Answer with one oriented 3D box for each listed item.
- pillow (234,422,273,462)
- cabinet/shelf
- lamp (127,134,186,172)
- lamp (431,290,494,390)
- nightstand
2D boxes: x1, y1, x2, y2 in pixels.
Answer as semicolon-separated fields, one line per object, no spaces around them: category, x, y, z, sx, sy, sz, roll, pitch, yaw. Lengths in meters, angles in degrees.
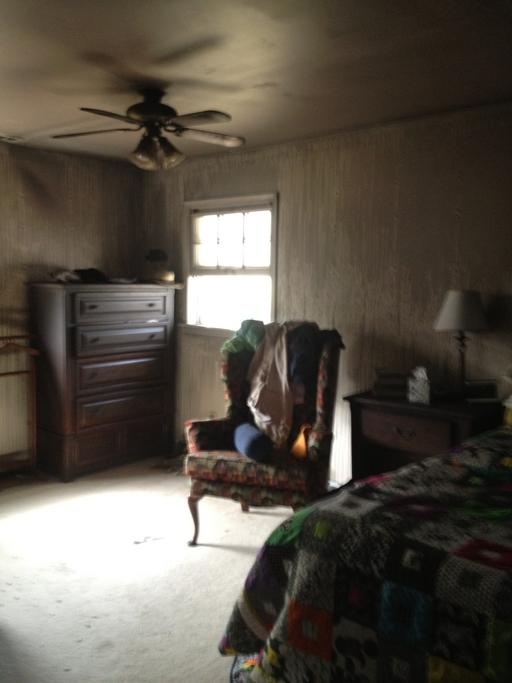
pillow;-0.018;0.494;2.742;0.136;0.153;0.231;7;-2;-17
cabinet/shelf;-1.162;0.293;4.107;0.632;1.754;1.261;4;6;40
lamp;-0.470;-0.895;2.598;0.238;0.149;0.260;-11;4;-16
lamp;1.062;-0.015;2.901;0.250;0.500;0.361;-7;4;23
nightstand;0.840;0.366;2.816;0.446;0.604;0.617;-2;2;-43
